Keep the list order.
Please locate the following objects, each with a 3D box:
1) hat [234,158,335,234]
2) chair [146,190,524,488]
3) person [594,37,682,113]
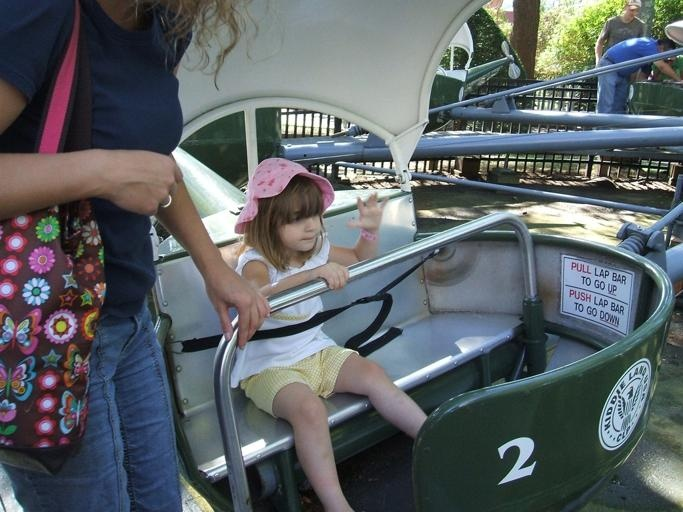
[{"bbox_3d":[-0.274,-0.346,2.011,0.400,0.230,0.352,-27,-24,-3],"label":"hat"},{"bbox_3d":[-0.041,0.346,1.778,1.340,0.677,0.501,-19,22,-38],"label":"chair"},{"bbox_3d":[4.935,-3.018,7.360,0.894,1.152,2.448,11,18,43],"label":"person"}]
